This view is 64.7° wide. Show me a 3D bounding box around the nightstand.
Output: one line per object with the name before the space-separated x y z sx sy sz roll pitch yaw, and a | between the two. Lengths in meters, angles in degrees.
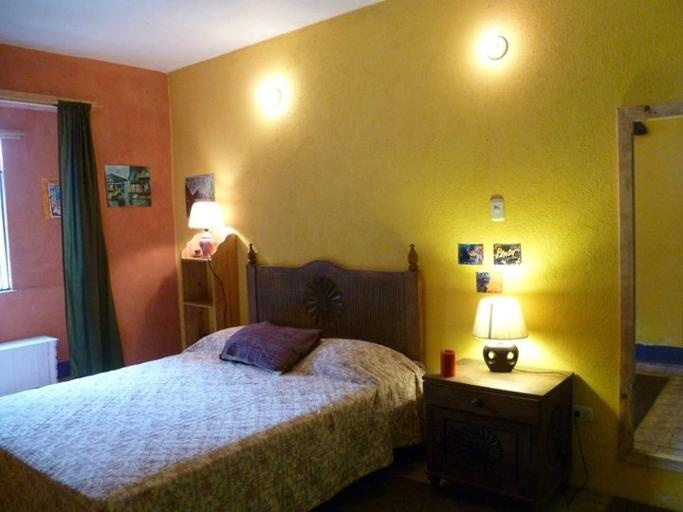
nightstand | 1.036 0.996 3.643 0.879 0.885 0.761 -1 -1 37

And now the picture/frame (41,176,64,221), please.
picture/frame | -2.642 -0.522 4.902 0.165 0.376 0.067 -10 16 -29

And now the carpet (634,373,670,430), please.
carpet | 1.887 0.882 3.327 0.163 0.328 0.069 0 14 8

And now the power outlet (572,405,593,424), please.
power outlet | 1.555 1.023 3.489 0.159 0.116 0.086 -3 1 -36

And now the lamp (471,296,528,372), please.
lamp | 1.028 0.508 3.646 0.415 0.577 0.432 0 -2 -28
